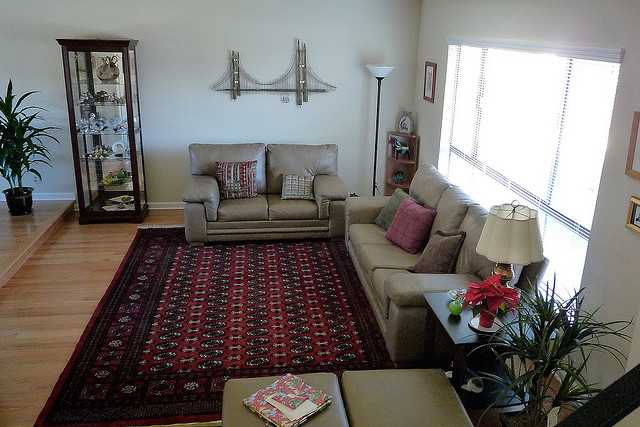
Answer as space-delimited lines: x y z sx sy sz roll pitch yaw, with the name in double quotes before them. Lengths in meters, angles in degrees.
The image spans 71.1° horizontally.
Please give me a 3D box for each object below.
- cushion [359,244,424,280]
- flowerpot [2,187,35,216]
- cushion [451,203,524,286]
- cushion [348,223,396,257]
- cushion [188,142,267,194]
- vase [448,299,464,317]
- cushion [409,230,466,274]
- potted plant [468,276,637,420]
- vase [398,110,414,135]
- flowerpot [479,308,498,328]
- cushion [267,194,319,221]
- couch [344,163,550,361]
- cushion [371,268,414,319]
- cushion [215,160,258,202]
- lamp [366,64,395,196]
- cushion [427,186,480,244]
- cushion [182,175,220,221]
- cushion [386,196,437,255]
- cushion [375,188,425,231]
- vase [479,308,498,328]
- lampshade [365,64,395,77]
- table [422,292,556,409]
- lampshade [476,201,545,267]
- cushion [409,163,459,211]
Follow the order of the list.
"cushion" 0.701 0.461 4.571 0.412 0.157 0.412 2 25 -1
"flowerpot" -4.068 -0.187 6.135 0.405 0.305 0.390 0 9 -5
"cushion" 1.397 0.289 4.058 0.611 0.558 0.613 -3 19 3
"cushion" 0.548 0.243 5.036 0.328 0.215 0.434 -2 24 -9
"cushion" -1.272 -0.611 6.252 1.089 0.701 0.363 -1 33 -16
"vase" 1.046 0.727 3.532 0.116 0.130 0.116 -6 19 -14
"cushion" 1.095 0.360 4.165 0.125 0.400 0.416 27 -6 -30
"potted plant" 1.572 0.894 3.026 0.922 0.827 0.883 -2 31 2
"vase" 1.278 -1.370 6.680 0.232 0.320 0.366 2 19 10
"flowerpot" 1.226 0.782 3.353 0.130 0.132 0.132 0 19 2
"cushion" -0.361 -0.093 6.077 0.810 0.242 0.834 -7 11 -21
"couch" 1.075 0.401 4.965 1.335 1.140 2.895 -4 16 -3
"cushion" 0.627 0.716 4.212 0.373 0.246 0.529 1 26 -4
"cushion" -1.102 -0.421 5.905 0.549 0.492 0.196 -1 -9 -9
"lamp" 0.868 -1.186 6.611 0.340 1.938 0.522 0 19 6
"cushion" 1.297 -0.027 4.481 0.255 0.511 0.561 15 19 1
"cushion" -1.503 -0.203 5.794 0.416 0.457 0.570 -5 19 -9
"cushion" 0.937 0.127 4.711 0.162 0.512 0.523 13 17 -38
"cushion" 0.837 -0.056 5.096 0.153 0.461 0.494 18 21 -9
"vase" 1.224 0.782 3.351 0.131 0.132 0.132 1 19 1
"lampshade" 0.827 -1.961 6.156 0.311 0.161 0.207 13 23 38
"table" 1.426 0.880 3.666 1.100 0.708 1.040 -3 3 -17
"lampshade" 1.410 0.144 3.312 0.444 0.398 0.432 -8 15 -23
"cushion" 1.287 -0.293 5.030 0.195 0.359 0.539 5 22 -10
